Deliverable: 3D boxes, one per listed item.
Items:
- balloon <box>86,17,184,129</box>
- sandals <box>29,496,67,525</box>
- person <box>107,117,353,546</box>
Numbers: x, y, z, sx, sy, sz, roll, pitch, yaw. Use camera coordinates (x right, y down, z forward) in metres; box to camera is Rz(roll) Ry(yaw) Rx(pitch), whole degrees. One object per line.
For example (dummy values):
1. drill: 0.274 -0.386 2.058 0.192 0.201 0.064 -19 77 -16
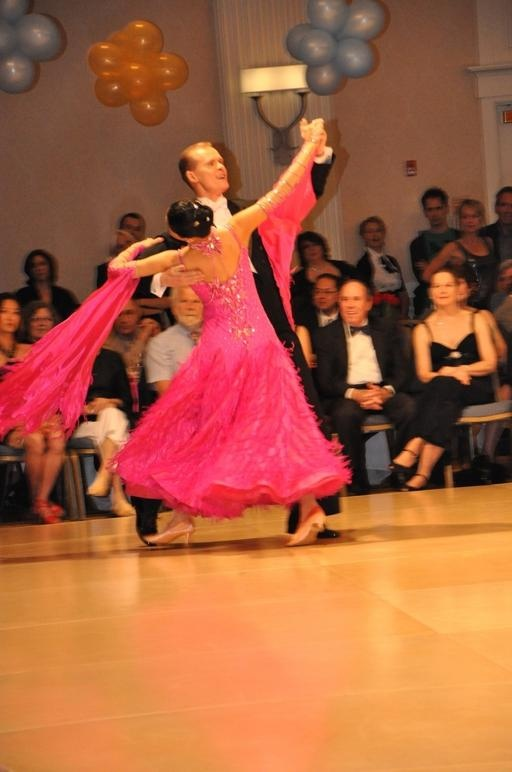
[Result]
1. balloon: -1.066 -2.771 6.024 0.977 0.865 0.372 -12 27 -15
2. sandals: -1.178 0.721 3.865 0.088 0.084 0.241 -2 1 -31
3. person: -0.110 -0.194 2.543 0.888 1.587 0.480 -4 0 6
